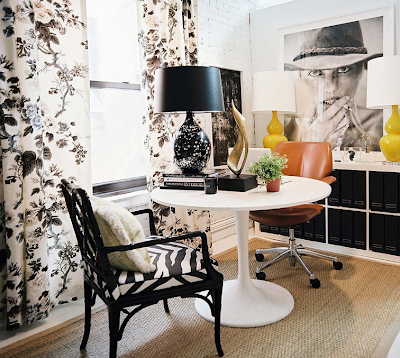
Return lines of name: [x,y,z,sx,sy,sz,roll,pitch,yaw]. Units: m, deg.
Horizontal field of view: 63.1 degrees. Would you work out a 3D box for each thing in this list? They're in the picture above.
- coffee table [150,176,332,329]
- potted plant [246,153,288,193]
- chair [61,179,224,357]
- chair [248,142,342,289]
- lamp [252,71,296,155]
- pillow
coffee table: [0.302,0.500,2.031,0.951,0.687,1.002,-1,0,43]
potted plant: [0.430,-0.035,2.003,0.215,0.224,0.183,-7,9,-30]
chair: [-0.302,0.249,2.102,0.962,1.358,0.793,-6,9,-25]
chair: [0.782,0.247,2.755,0.704,1.109,0.727,2,7,37]
lamp: [0.784,-0.680,3.438,0.447,0.828,0.447,-3,7,-7]
pillow: [-0.387,0.214,1.663,0.303,0.401,0.404,-2,3,-18]
